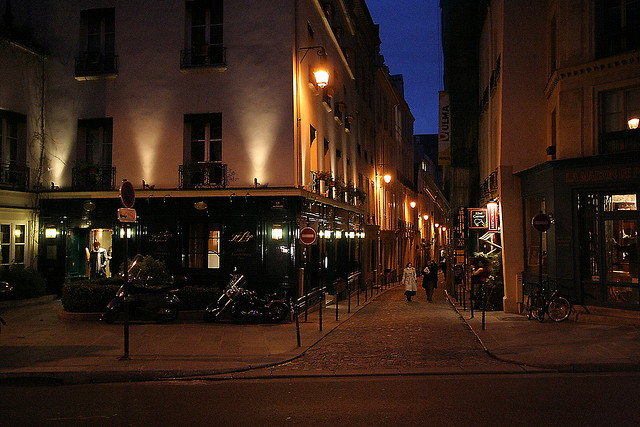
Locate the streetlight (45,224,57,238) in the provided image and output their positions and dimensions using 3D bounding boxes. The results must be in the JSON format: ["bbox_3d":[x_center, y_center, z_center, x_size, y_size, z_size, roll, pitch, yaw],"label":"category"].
[{"bbox_3d":[-12.030,0.808,26.950,0.591,0.565,0.054,0,5,8],"label":"streetlight"}]

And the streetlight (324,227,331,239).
[{"bbox_3d":[0.358,0.971,30.149,0.115,0.472,0.488,2,2,12],"label":"streetlight"}]

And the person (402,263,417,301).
[{"bbox_3d":[4.858,3.691,32.349,0.578,1.872,1.197,0,4,3],"label":"person"}]

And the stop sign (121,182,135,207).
[{"bbox_3d":[-5.590,-0.534,17.581,0.195,0.710,0.537,1,4,16],"label":"stop sign"}]

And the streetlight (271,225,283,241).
[{"bbox_3d":[-1.734,0.809,24.585,0.546,0.552,0.137,10,-3,8],"label":"streetlight"}]

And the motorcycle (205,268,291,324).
[{"bbox_3d":[-2.717,3.275,22.637,2.977,1.827,0.392,-1,5,-9],"label":"motorcycle"}]

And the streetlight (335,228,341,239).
[{"bbox_3d":[0.978,1.089,32.732,0.384,0.552,0.733,-1,-3,12],"label":"streetlight"}]

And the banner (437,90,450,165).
[{"bbox_3d":[8.271,-5.650,40.020,0.696,4.831,1.329,0,5,11],"label":"banner"}]

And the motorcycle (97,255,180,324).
[{"bbox_3d":[-6.638,2.921,22.129,2.742,2.040,1.970,2,-9,-8],"label":"motorcycle"}]

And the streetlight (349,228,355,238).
[{"bbox_3d":[1.914,1.174,35.696,0.368,0.727,0.722,-1,-3,13],"label":"streetlight"}]

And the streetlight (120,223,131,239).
[{"bbox_3d":[-7.510,0.676,23.341,0.569,0.598,0.311,0,-8,-1],"label":"streetlight"}]

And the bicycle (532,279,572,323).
[{"bbox_3d":[8.693,3.311,22.519,1.009,1.541,1.494,-1,4,-12],"label":"bicycle"}]

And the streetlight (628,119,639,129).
[{"bbox_3d":[11.104,-3.157,21.367,0.222,0.288,0.311,-2,-10,27],"label":"streetlight"}]

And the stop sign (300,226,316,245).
[{"bbox_3d":[-0.420,0.820,21.530,0.501,0.549,0.528,2,0,11],"label":"stop sign"}]
